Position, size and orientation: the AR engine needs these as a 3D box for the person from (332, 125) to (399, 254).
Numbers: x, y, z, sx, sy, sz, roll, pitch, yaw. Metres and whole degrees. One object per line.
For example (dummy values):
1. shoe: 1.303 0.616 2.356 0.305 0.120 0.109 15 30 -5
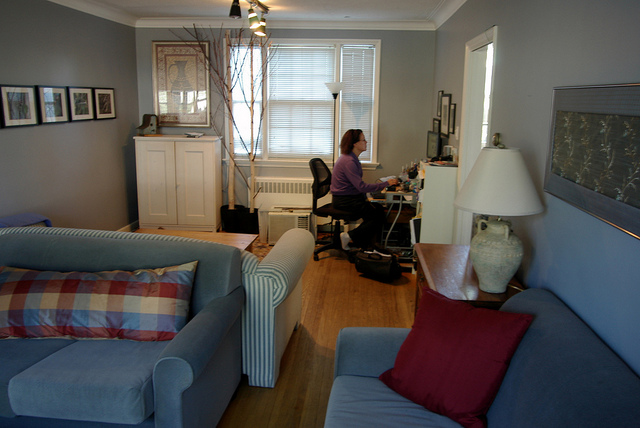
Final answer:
1. person: 0.515 -0.248 5.689 0.698 1.523 0.525 7 15 29

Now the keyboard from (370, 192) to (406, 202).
1. keyboard: 0.788 -0.210 5.480 0.397 0.100 0.110 2 13 7

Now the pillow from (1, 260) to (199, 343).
1. pillow: -1.475 0.546 3.420 1.587 0.455 0.567 7 10 -2

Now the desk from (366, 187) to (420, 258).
1. desk: 1.001 0.039 5.915 0.516 0.716 1.067 4 14 4

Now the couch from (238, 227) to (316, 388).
1. couch: -0.316 0.698 3.621 0.344 1.050 0.744 4 14 16

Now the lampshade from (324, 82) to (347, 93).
1. lampshade: 0.211 -1.709 6.337 0.226 0.103 0.227 -1 8 -4

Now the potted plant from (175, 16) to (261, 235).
1. potted plant: -1.333 -1.213 6.569 1.014 2.886 0.602 -1 13 -4

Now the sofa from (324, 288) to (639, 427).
1. sofa: 0.752 0.826 2.474 1.422 0.611 0.853 3 13 13
